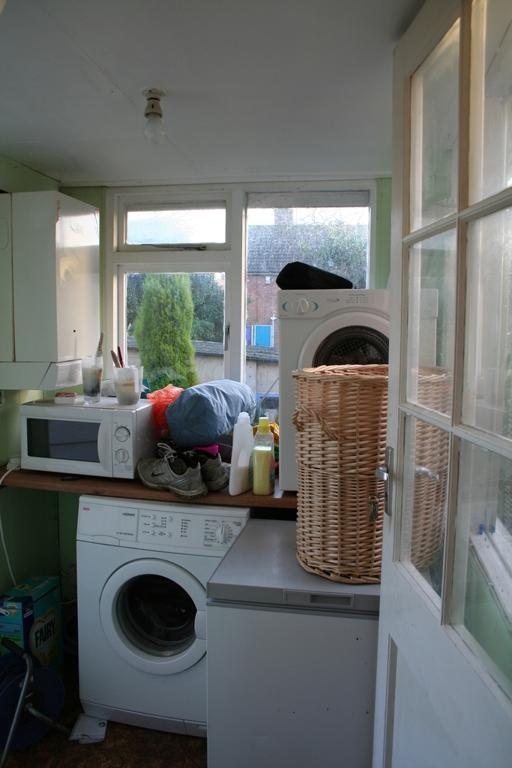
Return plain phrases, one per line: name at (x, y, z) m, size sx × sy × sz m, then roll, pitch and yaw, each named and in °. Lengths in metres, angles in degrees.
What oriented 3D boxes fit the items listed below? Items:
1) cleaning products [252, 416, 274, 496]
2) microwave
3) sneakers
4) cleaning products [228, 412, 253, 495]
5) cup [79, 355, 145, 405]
cleaning products at (0.023, 0.225, 1.817) m, size 0.068 × 0.254 × 0.124 m, roll 1°, pitch 6°, yaw 0°
microwave at (-0.623, 0.200, 2.095) m, size 0.472 × 0.268 × 0.191 m, roll 2°, pitch 6°, yaw 16°
sneakers at (-0.263, 0.292, 1.917) m, size 0.329 × 0.129 × 0.153 m, roll 4°, pitch 7°, yaw 29°
cleaning products at (-0.043, 0.222, 1.857) m, size 0.046 × 0.259 × 0.128 m, roll 4°, pitch 7°, yaw 35°
cup at (-0.526, -0.015, 2.164) m, size 0.285 × 0.231 × 0.121 m, roll 6°, pitch 6°, yaw 21°
